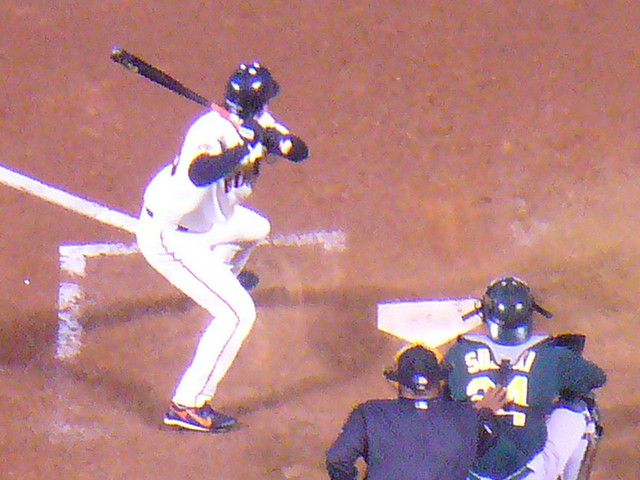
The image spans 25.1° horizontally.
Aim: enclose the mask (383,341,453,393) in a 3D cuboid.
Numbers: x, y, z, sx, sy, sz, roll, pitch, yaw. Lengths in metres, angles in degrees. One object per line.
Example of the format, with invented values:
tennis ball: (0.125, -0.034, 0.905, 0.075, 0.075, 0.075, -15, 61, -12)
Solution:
mask: (1.044, 1.394, 15.211, 0.633, 0.756, 0.535, -2, 64, 14)
